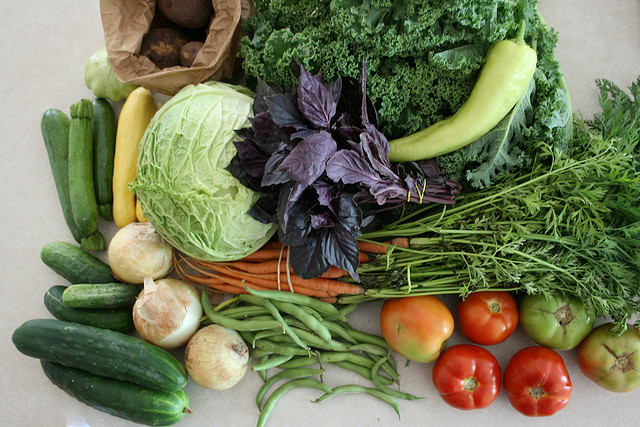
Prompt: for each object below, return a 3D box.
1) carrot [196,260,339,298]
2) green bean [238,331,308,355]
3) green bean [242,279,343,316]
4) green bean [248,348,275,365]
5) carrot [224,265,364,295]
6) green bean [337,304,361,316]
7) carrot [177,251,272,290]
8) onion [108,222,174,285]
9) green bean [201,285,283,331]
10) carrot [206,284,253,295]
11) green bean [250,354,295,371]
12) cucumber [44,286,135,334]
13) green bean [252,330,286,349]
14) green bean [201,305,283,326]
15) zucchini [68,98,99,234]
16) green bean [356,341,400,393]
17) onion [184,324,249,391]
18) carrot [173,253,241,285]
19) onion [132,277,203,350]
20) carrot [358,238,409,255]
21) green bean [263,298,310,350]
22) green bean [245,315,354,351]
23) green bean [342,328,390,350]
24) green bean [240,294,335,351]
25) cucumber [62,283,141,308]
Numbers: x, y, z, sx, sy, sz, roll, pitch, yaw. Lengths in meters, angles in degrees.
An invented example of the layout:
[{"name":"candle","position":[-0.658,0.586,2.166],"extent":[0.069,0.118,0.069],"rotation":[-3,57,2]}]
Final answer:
[{"name":"carrot","position":[-0.181,0.249,2.345],"extent":[0.374,0.034,0.063],"rotation":[16,1,8]},{"name":"green bean","position":[-0.172,0.497,2.353],"extent":[0.204,0.046,0.032],"rotation":[16,39,8]},{"name":"green bean","position":[-0.102,0.321,2.345],"extent":[0.331,0.050,0.049],"rotation":[15,41,-2]},{"name":"green bean","position":[-0.238,0.557,2.417],"extent":[0.035,0.131,0.042],"rotation":[42,27,-51]},{"name":"carrot","position":[-0.077,0.251,2.330],"extent":[0.383,0.049,0.042],"rotation":[11,19,2]},{"name":"green bean","position":[0.108,0.373,2.396],"extent":[0.134,0.040,0.028],"rotation":[-5,-16,-34]},{"name":"carrot","position":[-0.358,0.221,2.377],"extent":[0.348,0.055,0.053],"rotation":[17,20,6]},{"name":"onion","position":[-0.718,0.152,2.466],"extent":[0.222,0.235,0.233],"rotation":[17,32,-29]},{"name":"green bean","position":[-0.312,0.370,2.306],"extent":[0.341,0.053,0.127],"rotation":[11,52,26]},{"name":"carrot","position":[-0.352,0.296,2.399],"extent":[0.150,0.025,0.022],"rotation":[10,35,15]},{"name":"green bean","position":[-0.181,0.578,2.376],"extent":[0.134,0.039,0.038],"rotation":[-13,32,-13]},{"name":"cucumber","position":[-0.898,0.391,2.431],"extent":[0.344,0.137,0.162],"rotation":[10,-25,-5]},{"name":"green bean","position":[-0.208,0.479,2.352],"extent":[0.180,0.053,0.045],"rotation":[-9,-2,7]},{"name":"green bean","position":[-0.289,0.381,2.408],"extent":[0.400,0.071,0.084],"rotation":[-4,-23,8]},{"name":"zucchini","position":[-0.938,-0.182,2.422],"extent":[0.111,0.510,0.166],"rotation":[-1,16,-26]},{"name":"green bean","position":[0.223,0.594,2.377],"extent":[0.035,0.043,0.250],"rotation":[-32,71,-32]},{"name":"onion","position":[-0.376,0.550,2.374],"extent":[0.227,0.223,0.236],"rotation":[28,42,-36]},{"name":"carrot","position":[-0.433,0.216,2.388],"extent":[0.416,0.068,0.075],"rotation":[7,-11,14]},{"name":"onion","position":[-0.559,0.381,2.404],"extent":[0.244,0.271,0.270],"rotation":[-12,49,3]},{"name":"carrot","position":[0.243,0.125,2.336],"extent":[0.236,0.075,0.062],"rotation":[-1,10,9]},{"name":"green bean","position":[-0.128,0.415,2.332],"extent":[0.027,0.046,0.222],"rotation":[-29,75,-35]},{"name":"green bean","position":[-0.088,0.456,2.344],"extent":[0.290,0.036,0.032],"rotation":[24,10,2]},{"name":"green bean","position":[0.177,0.489,2.376],"extent":[0.137,0.039,0.032],"rotation":[29,5,6]},{"name":"green bean","position":[-0.119,0.455,2.355],"extent":[0.060,0.423,0.083],"rotation":[44,20,-33]},{"name":"cucumber","position":[-0.844,0.311,2.401],"extent":[0.291,0.115,0.102],"rotation":[0,-2,-6]}]
